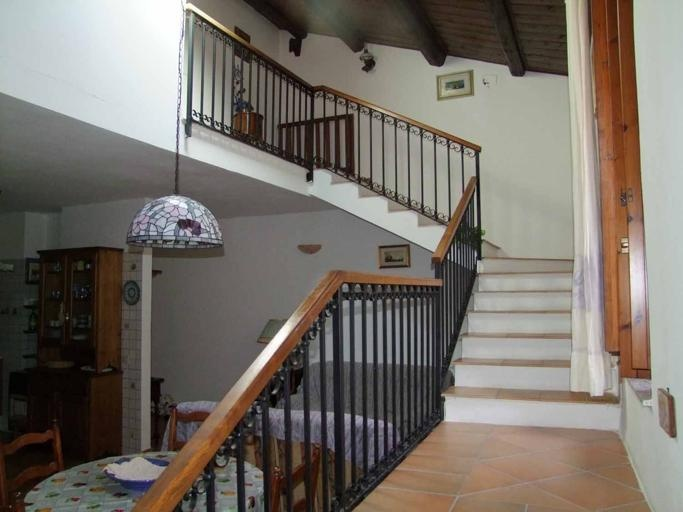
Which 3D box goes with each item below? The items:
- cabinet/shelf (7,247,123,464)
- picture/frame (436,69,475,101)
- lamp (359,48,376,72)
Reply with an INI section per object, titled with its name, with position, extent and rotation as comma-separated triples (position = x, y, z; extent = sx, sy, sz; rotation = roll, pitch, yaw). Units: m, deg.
[cabinet/shelf]
position = -3.052, 1.076, 6.234
extent = 1.112, 2.323, 0.896
rotation = 3, 11, 25
[picture/frame]
position = 1.620, -2.377, 7.611
extent = 0.422, 0.345, 0.033
rotation = 2, 5, 29
[lamp]
position = 0.374, -2.893, 8.089
extent = 0.246, 0.351, 0.270
rotation = 0, 11, 11
